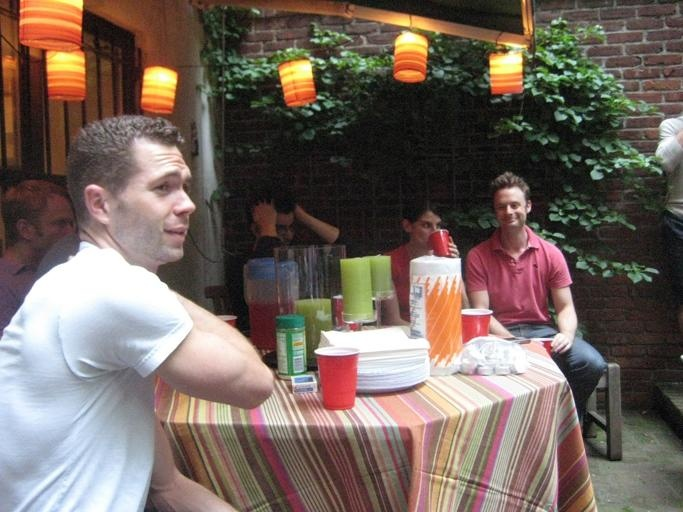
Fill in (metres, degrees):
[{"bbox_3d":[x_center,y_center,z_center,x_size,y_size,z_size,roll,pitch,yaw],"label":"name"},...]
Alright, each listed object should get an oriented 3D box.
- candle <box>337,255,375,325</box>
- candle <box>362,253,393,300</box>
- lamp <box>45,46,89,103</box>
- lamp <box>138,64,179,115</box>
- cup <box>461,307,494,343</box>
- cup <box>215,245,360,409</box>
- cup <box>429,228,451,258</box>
[{"bbox_3d":[0.049,0.101,1.820,0.098,0.191,0.136,-2,6,1],"label":"candle"},{"bbox_3d":[0.100,0.069,1.922,0.107,0.114,0.110,-5,-2,39],"label":"candle"},{"bbox_3d":[-1.255,-0.821,2.769,0.188,0.192,0.178,1,12,-3],"label":"lamp"},{"bbox_3d":[-1.007,-0.912,3.350,0.195,0.202,0.198,16,12,35],"label":"lamp"},{"bbox_3d":[0.446,0.234,1.964,0.102,0.072,0.101,0,-2,0],"label":"cup"},{"bbox_3d":[-0.151,0.141,2.022,0.405,0.345,0.290,-1,2,9],"label":"cup"},{"bbox_3d":[0.298,-0.039,1.846,0.080,0.075,0.079,0,-17,0],"label":"cup"}]
